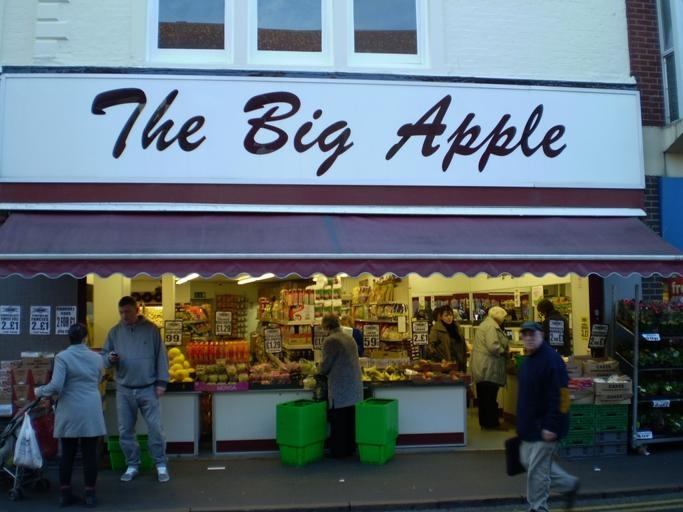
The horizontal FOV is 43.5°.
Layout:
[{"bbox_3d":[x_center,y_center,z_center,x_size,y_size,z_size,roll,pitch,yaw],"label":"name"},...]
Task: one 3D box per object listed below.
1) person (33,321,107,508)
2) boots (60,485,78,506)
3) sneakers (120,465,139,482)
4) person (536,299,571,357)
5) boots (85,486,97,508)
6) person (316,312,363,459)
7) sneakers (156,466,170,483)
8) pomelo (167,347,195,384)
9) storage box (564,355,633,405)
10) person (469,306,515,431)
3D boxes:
[{"bbox_3d":[-3.973,2.351,12.784,0.839,2.654,0.374,-2,-3,-20],"label":"person"},{"bbox_3d":[-4.039,3.543,12.740,0.142,0.310,0.433,0,2,9],"label":"boots"},{"bbox_3d":[-3.391,3.450,13.690,0.288,0.208,0.284,-3,-2,-15],"label":"sneakers"},{"bbox_3d":[3.962,1.643,15.780,0.649,1.646,0.562,0,-2,19],"label":"person"},{"bbox_3d":[-3.702,3.552,12.651,0.135,0.304,0.309,0,2,-1],"label":"boots"},{"bbox_3d":[-0.004,2.203,14.701,0.726,2.418,0.564,-3,-2,3],"label":"person"},{"bbox_3d":[-2.842,3.424,13.666,0.193,0.247,0.400,-3,-1,-12],"label":"sneakers"},{"bbox_3d":[-2.807,1.895,14.997,0.429,0.537,0.855,-3,-1,-11],"label":"pomelo"},{"bbox_3d":[4.407,2.121,14.625,0.810,0.343,0.834,0,0,-4],"label":"storage box"},{"bbox_3d":[2.831,2.125,16.289,0.755,2.272,0.523,-3,-2,9],"label":"person"}]
